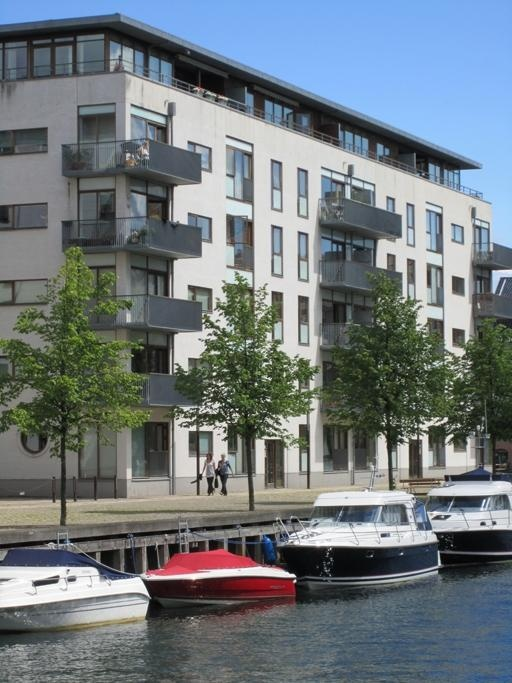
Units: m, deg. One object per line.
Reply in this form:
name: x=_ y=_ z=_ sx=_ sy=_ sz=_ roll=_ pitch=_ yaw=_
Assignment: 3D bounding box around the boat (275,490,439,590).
boat: x=2.368 y=4.532 z=31.036 sx=1.596 sy=2.258 sz=4.856 roll=-7 pitch=-12 yaw=35
